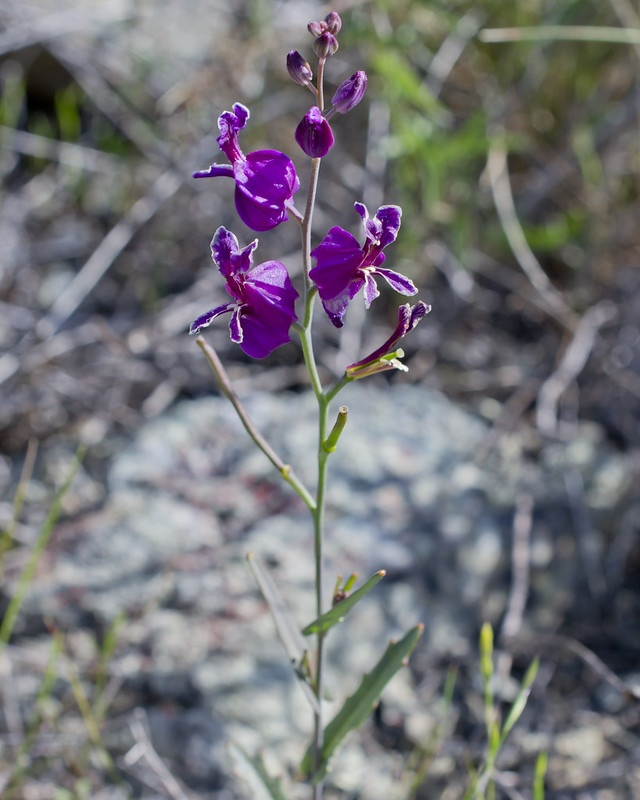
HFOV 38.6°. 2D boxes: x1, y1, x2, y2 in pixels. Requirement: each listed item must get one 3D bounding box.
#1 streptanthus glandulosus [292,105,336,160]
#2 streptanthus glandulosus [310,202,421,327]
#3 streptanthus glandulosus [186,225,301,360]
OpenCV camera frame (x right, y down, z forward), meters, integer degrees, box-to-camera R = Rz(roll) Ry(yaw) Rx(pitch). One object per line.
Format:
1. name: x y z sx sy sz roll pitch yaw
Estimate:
1. streptanthus glandulosus: -0.016 -0.427 1.426 0.067 0.077 0.072 14 89 9
2. streptanthus glandulosus: 0.071 -0.253 1.457 0.189 0.147 0.136 5 90 -5
3. streptanthus glandulosus: -0.104 -0.165 1.587 0.233 0.222 0.213 8 73 -7
